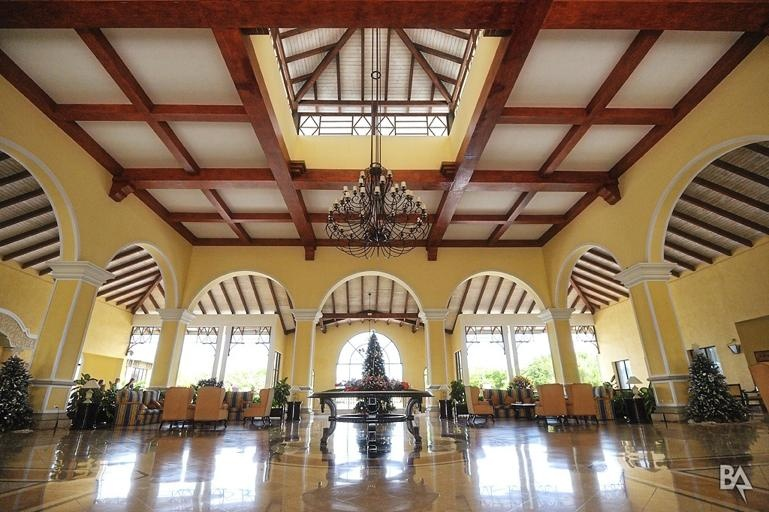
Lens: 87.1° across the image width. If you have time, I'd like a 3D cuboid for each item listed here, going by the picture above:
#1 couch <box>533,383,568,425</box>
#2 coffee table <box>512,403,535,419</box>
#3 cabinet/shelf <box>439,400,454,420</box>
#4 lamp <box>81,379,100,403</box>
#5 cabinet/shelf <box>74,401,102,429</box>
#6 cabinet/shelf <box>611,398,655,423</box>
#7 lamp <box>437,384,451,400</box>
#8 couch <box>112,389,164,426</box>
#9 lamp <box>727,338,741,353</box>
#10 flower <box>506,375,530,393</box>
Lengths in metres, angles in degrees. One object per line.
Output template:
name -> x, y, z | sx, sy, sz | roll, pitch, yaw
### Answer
couch -> 4.168, 3.723, 10.181 | 0.762, 0.889, 1.472 | -8, -24, 19
coffee table -> 4.488, 5.014, 13.157 | 1.009, 0.423, 0.655 | 1, -14, 0
cabinet/shelf -> 1.777, 4.472, 11.717 | 0.519, 0.639, 0.483 | -1, -17, 6
lamp -> -6.865, 3.166, 9.451 | 0.343, 0.564, 0.708 | 14, -27, -30
cabinet/shelf -> -6.630, 3.546, 9.018 | 0.392, 0.565, 0.258 | 16, -28, -32
cabinet/shelf -> 6.095, 3.840, 10.093 | 0.605, 0.597, 2.119 | -8, -23, 19
lamp -> 1.709, 3.995, 11.840 | 0.479, 0.561, 0.464 | -3, -19, 10
couch -> -6.186, 3.816, 10.106 | 0.540, 0.642, 1.102 | 0, -32, -2
lamp -> 10.757, 2.812, 12.509 | 0.170, 0.483, 0.336 | 8, -24, -18
flower -> 4.838, 4.575, 14.404 | 0.651, 0.585, 0.580 | 10, -26, 0
